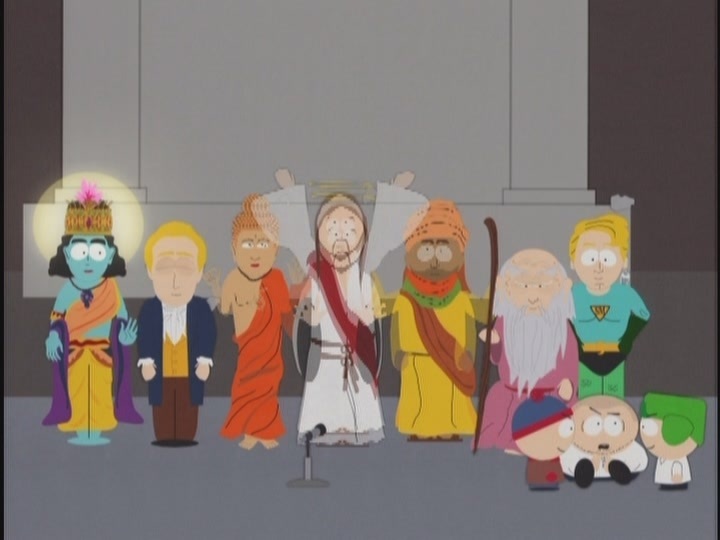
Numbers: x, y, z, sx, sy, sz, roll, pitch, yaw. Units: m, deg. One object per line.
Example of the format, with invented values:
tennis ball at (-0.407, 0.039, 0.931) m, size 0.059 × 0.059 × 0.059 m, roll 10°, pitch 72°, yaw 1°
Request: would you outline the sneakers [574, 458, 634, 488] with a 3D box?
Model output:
sneakers at (2.123, 1.776, 19.478) m, size 0.483 × 0.242 × 0.072 m, roll -1°, pitch -1°, yaw -3°
